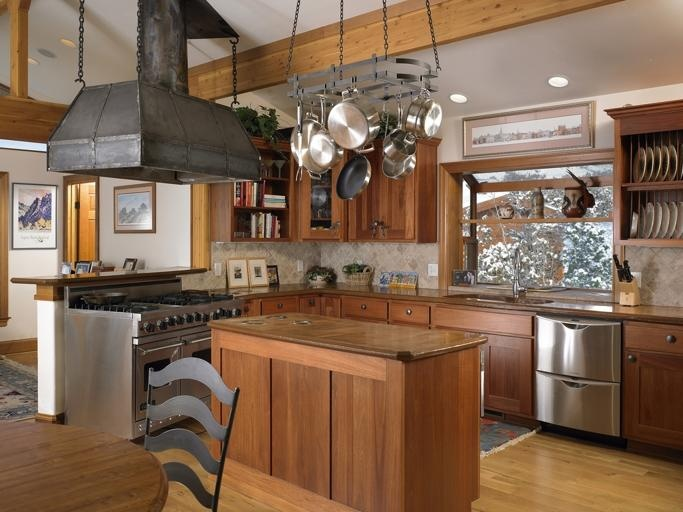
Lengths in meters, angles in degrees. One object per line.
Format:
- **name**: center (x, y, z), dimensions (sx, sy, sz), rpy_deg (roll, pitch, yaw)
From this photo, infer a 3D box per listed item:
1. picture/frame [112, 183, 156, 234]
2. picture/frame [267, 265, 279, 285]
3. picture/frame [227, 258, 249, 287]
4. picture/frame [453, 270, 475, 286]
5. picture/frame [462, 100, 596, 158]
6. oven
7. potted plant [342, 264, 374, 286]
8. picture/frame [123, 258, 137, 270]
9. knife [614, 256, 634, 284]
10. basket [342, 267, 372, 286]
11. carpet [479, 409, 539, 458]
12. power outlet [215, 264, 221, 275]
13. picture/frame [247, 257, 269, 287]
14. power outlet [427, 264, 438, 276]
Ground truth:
- **picture/frame**: center (-2.538, -0.579, 6.306), dimensions (0.129, 0.633, 0.952), rpy_deg (-1, 8, -45)
- **picture/frame**: center (-0.839, 0.232, 6.194), dimensions (0.017, 0.228, 0.237), rpy_deg (-17, -5, 32)
- **picture/frame**: center (-1.182, 0.189, 5.901), dimensions (0.261, 0.318, 0.123), rpy_deg (-1, 8, -44)
- **picture/frame**: center (1.304, 0.233, 5.576), dimensions (0.283, 0.146, 0.195), rpy_deg (2, -4, 15)
- **picture/frame**: center (1.807, -1.238, 5.142), dimensions (1.275, 0.522, 0.063), rpy_deg (9, 7, 37)
- **oven**: center (-1.789, 1.053, 4.824), dimensions (0.884, 0.828, 1.336), rpy_deg (-3, -5, 18)
- **potted plant**: center (0.205, 0.222, 6.238), dimensions (0.306, 0.176, 0.280), rpy_deg (3, 4, 25)
- **picture/frame**: center (-2.534, 0.104, 6.217), dimensions (0.166, 0.167, 0.039), rpy_deg (-3, -26, 24)
- **knife**: center (2.440, 0.108, 4.515), dimensions (0.171, 0.225, 0.315), rpy_deg (7, 7, 27)
- **basket**: center (0.184, 0.241, 6.190), dimensions (0.251, 0.146, 0.246), rpy_deg (-1, -2, 9)
- **carpet**: center (1.389, 1.531, 4.411), dimensions (0.500, 0.059, 0.851), rpy_deg (7, 6, 23)
- **power outlet**: center (-1.392, 0.142, 5.780), dimensions (0.024, 0.136, 0.102), rpy_deg (8, 7, 29)
- **picture/frame**: center (-1.002, 0.192, 6.058), dimensions (0.316, 0.347, 0.024), rpy_deg (10, -19, -44)
- **power outlet**: center (1.006, 0.152, 5.773), dimensions (0.130, 0.144, 0.021), rpy_deg (7, 9, 42)
